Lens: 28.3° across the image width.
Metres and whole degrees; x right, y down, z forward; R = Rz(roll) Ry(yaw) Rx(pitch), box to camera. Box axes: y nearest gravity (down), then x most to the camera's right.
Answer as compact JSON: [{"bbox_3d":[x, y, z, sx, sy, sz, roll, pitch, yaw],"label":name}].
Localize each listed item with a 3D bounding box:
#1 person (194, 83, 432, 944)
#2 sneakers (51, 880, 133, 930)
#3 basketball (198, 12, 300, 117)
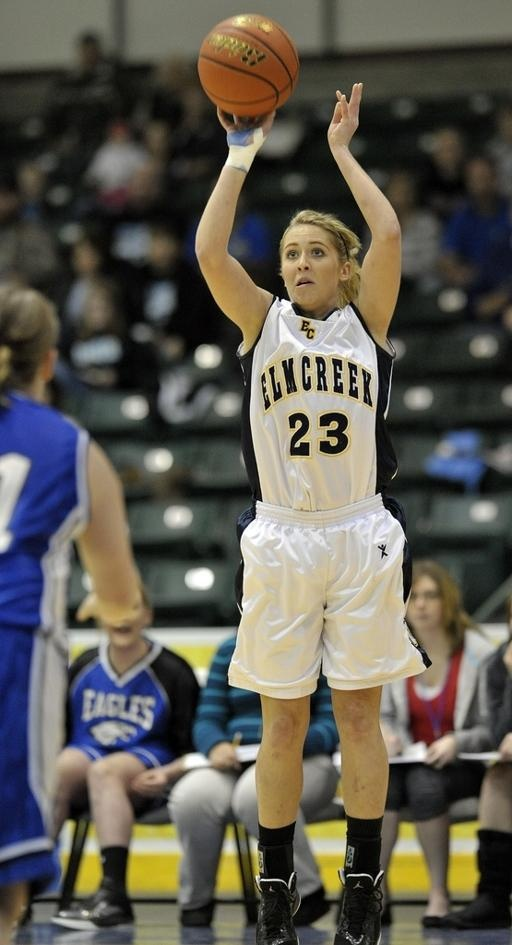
[{"bbox_3d":[0.137,0.047,2.392,0.492,1.912,0.882,-3,14,-3],"label":"person"},{"bbox_3d":[-0.480,1.359,3.193,0.316,0.151,0.105,5,-18,-19],"label":"sneakers"},{"bbox_3d":[-0.017,-1.058,2.674,0.300,0.337,0.278,0,-2,0],"label":"basketball"}]
